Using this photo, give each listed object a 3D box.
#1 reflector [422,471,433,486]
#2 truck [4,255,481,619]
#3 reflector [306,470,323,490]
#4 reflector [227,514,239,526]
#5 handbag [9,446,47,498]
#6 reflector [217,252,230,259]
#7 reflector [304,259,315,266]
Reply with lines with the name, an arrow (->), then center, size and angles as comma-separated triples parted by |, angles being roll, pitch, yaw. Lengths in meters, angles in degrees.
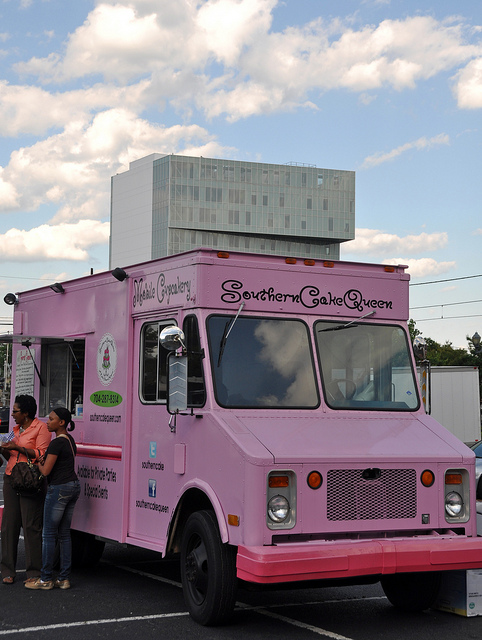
reflector -> 1.352, 1.157, 4.573 | 0.074, 0.097, 0.020 | 5, -4, -19
truck -> -0.077, 0.835, 6.295 | 2.572, 3.221, 4.887 | 3, -6, -31
reflector -> 0.488, 1.066, 4.180 | 0.132, 0.125, 0.023 | 11, -15, -38
reflector -> -0.053, 1.319, 4.133 | 0.016, 0.084, 0.069 | 3, -2, -38
handbag -> -2.101, 1.479, 6.174 | 0.366, 0.637, 0.220 | -2, -10, -1
reflector -> -0.147, -0.532, 5.179 | 0.065, 0.054, 0.051 | 1, -2, -1
reflector -> 0.610, -0.506, 5.549 | 0.109, 0.055, 0.059 | 8, -14, -26
